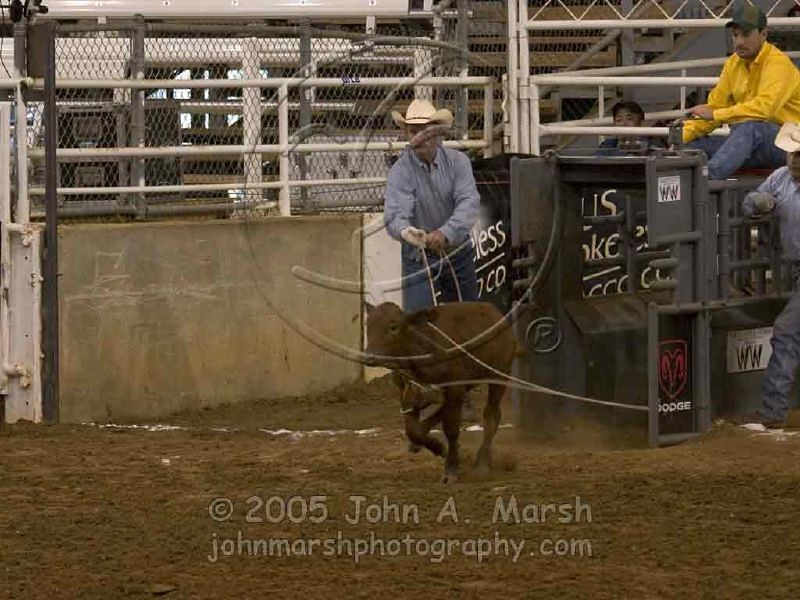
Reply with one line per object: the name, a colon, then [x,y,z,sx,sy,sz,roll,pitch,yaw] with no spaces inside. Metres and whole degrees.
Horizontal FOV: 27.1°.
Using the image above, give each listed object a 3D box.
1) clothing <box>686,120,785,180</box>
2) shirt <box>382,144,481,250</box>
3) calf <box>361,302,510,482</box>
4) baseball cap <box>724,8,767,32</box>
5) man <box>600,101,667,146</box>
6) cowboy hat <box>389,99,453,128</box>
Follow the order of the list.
clothing: [2.907,-1.398,14.198,0.960,0.360,0.628,-6,37,-15]
shirt: [0.224,-0.687,11.625,0.647,0.587,0.873,-5,34,9]
calf: [0.289,0.640,11.558,0.589,1.281,1.469,5,6,44]
baseball cap: [2.931,-2.365,13.965,0.264,0.224,0.267,0,3,7]
man: [2.123,-1.591,15.102,0.502,0.660,0.222,-9,-16,30]
cowboy hat: [0.127,-1.304,11.706,0.297,0.126,0.330,-2,-12,6]
